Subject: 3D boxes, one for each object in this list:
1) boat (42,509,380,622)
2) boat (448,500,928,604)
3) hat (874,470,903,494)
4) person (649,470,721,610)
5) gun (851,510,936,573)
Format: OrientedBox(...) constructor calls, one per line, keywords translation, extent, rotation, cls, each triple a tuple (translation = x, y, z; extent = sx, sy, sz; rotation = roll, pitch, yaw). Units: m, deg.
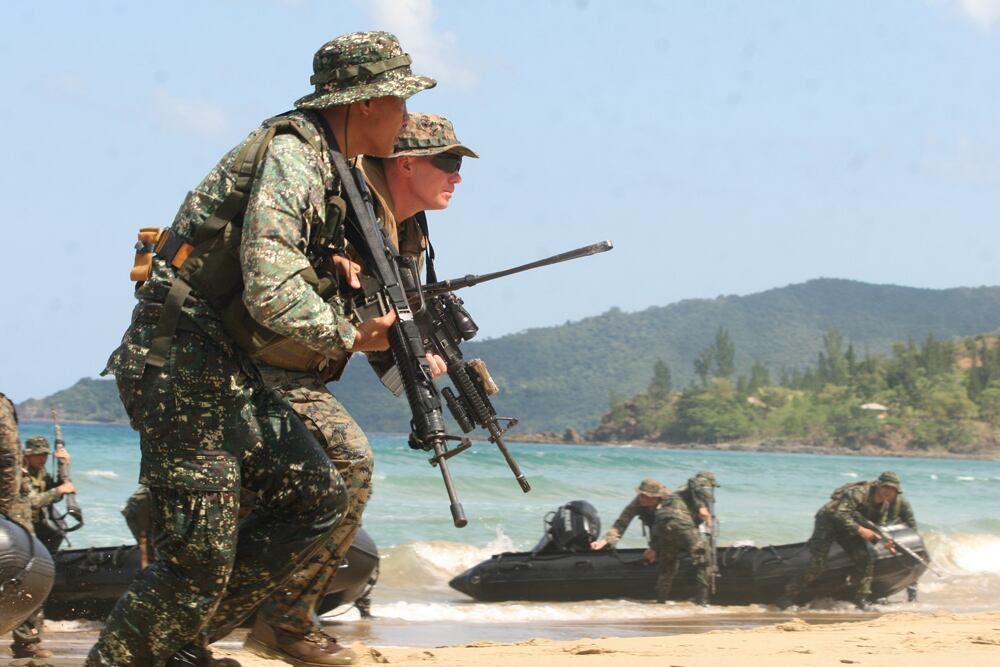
OrientedBox(translation=(-3.536, 3.000, 16.546), extent=(3.914, 0.930, 2.029), rotation=(1, -12, -5), cls="boat")
OrientedBox(translation=(2.440, 3.727, 20.397), extent=(8.114, 1.787, 1.981), rotation=(-2, -40, 6), cls="boat")
OrientedBox(translation=(5.577, 2.126, 19.410), extent=(0.402, 0.153, 0.334), rotation=(5, 0, 1), cls="hat")
OrientedBox(translation=(2.641, 2.962, 19.499), extent=(0.906, 1.786, 0.458), rotation=(-3, -2, 5), cls="person")
OrientedBox(translation=(5.584, 2.925, 19.381), extent=(1.015, 0.809, 0.380), rotation=(-2, -2, 7), cls="gun")
